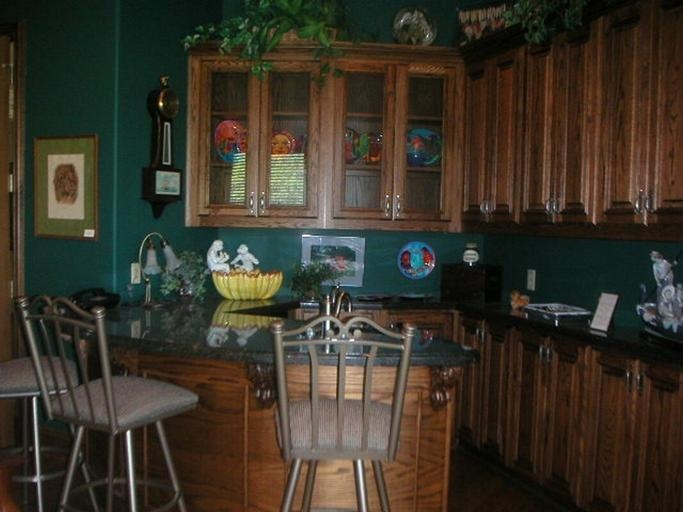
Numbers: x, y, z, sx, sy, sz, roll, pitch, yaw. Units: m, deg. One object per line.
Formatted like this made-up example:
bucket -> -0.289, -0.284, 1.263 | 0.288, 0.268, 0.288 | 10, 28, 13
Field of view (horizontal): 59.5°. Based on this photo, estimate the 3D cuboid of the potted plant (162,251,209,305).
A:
potted plant -> -1.087, 0.152, 4.315 | 0.336, 0.393, 0.380 | 1, 1, 33

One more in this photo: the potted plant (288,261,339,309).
potted plant -> -0.220, 0.238, 4.565 | 0.372, 0.373, 0.287 | 1, -5, -9

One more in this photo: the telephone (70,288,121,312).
telephone -> -1.517, 0.260, 3.686 | 0.281, 0.106, 0.285 | 8, 10, 30

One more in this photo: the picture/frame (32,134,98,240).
picture/frame -> -1.853, -0.483, 4.047 | 0.682, 0.924, 0.041 | 2, 5, 19

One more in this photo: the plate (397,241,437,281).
plate -> 0.625, 0.040, 4.862 | 0.298, 0.310, 0.070 | 0, -2, -2

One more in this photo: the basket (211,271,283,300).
basket -> -0.669, 0.211, 4.356 | 0.293, 0.129, 0.293 | 6, -7, -38

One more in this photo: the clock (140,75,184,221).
clock -> -1.270, -0.769, 4.248 | 0.148, 0.979, 0.341 | 1, 5, 20
